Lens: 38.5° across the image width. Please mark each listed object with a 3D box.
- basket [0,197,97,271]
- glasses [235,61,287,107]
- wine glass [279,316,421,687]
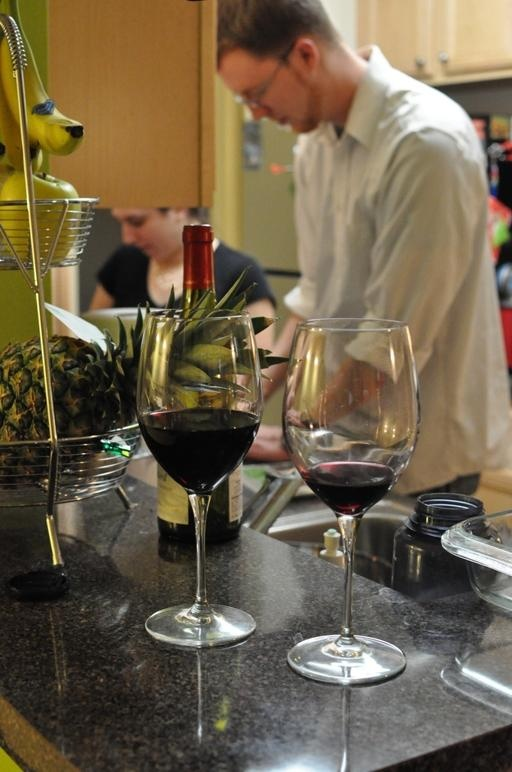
[{"bbox_3d":[-0.179,-0.114,0.611,0.090,0.039,0.090,-1,-1,-6],"label":"basket"},{"bbox_3d":[0.007,-0.513,1.240,0.019,0.061,0.060,39,13,16],"label":"glasses"},{"bbox_3d":[0.057,0.056,0.414,0.069,0.187,0.120,2,6,17],"label":"wine glass"}]
